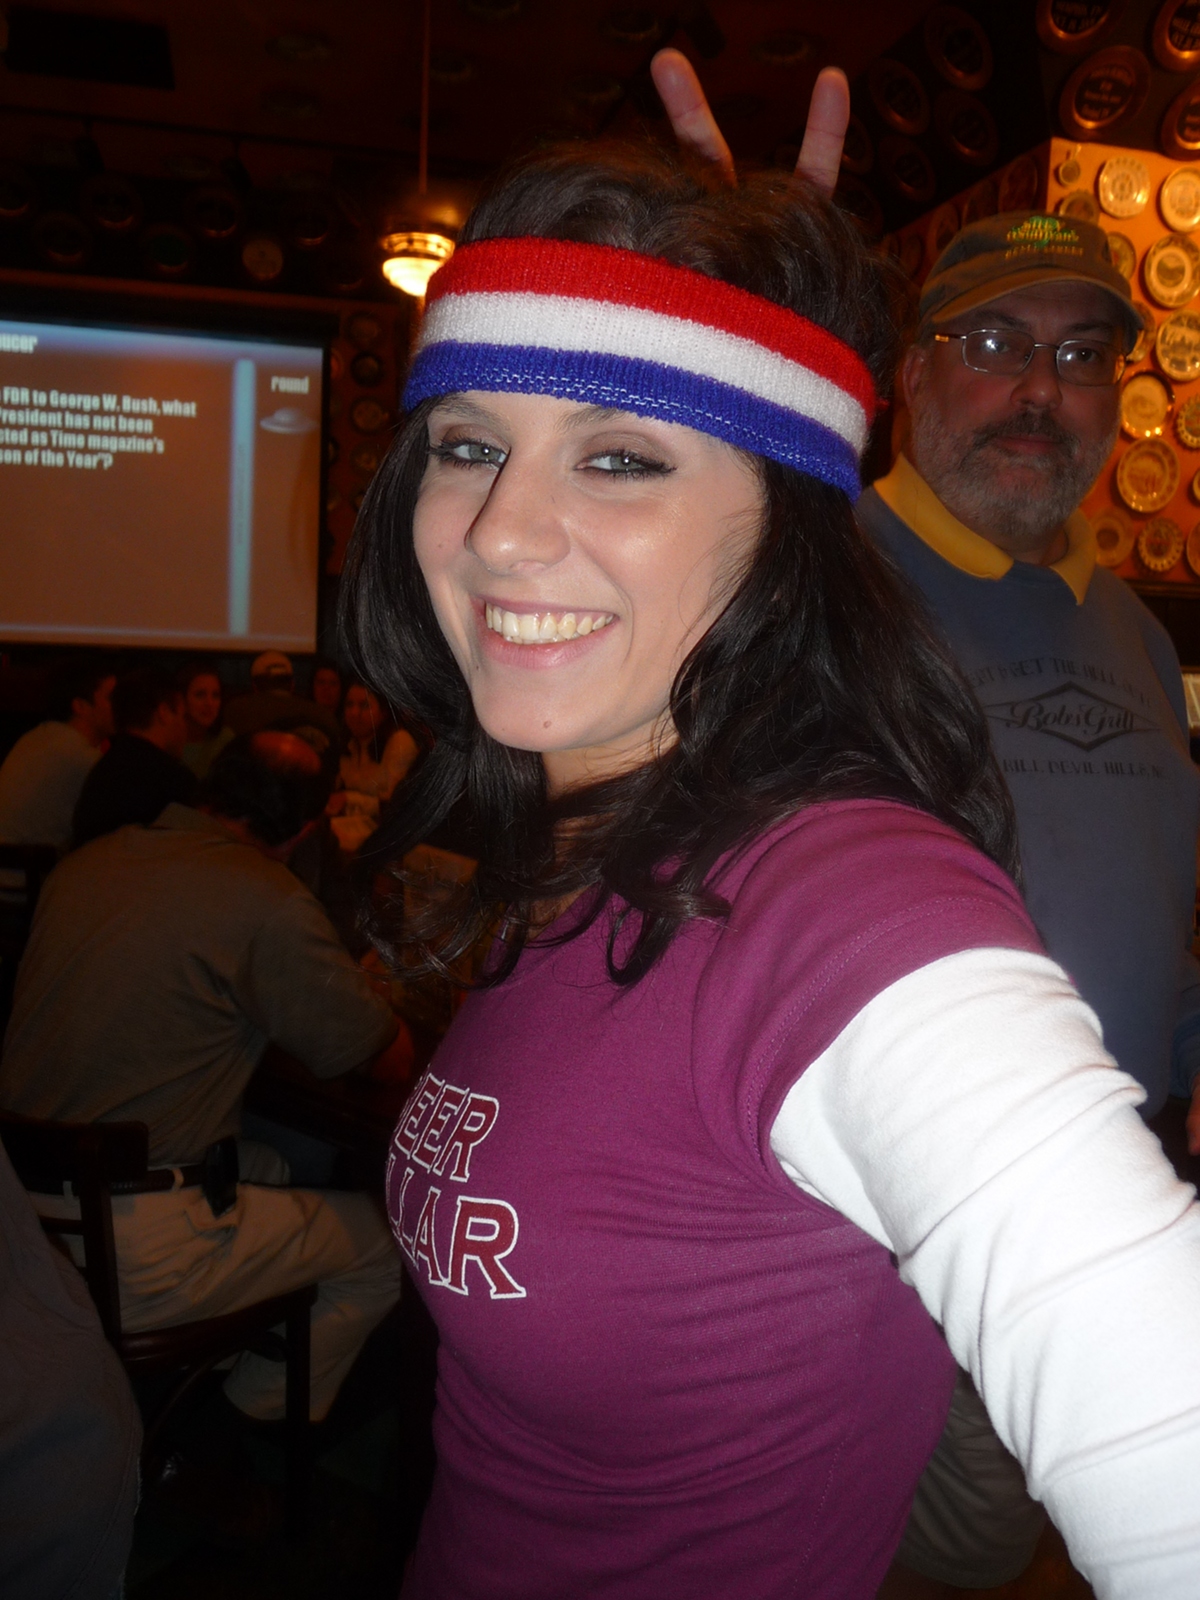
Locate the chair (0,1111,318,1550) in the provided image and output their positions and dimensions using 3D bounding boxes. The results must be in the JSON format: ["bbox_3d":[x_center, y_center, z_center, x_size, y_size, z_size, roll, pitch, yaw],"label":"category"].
[{"bbox_3d":[-0.610,0.770,1.947,0.325,0.870,0.392,1,18,-1],"label":"chair"}]
